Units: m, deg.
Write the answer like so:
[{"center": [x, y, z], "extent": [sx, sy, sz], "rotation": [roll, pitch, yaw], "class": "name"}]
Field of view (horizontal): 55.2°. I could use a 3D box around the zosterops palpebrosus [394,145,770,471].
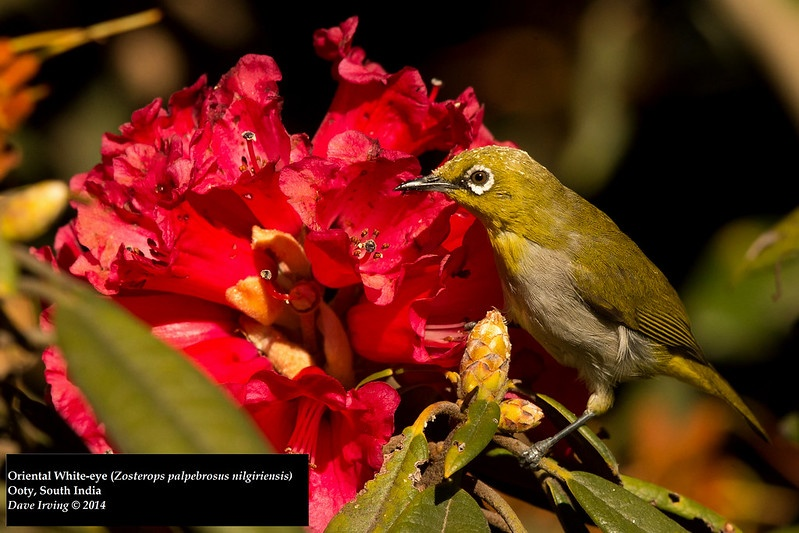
[{"center": [0.373, -0.029, 2.399], "extent": [0.626, 1.333, 1.202], "rotation": [-11, -17, 40], "class": "zosterops palpebrosus"}]
